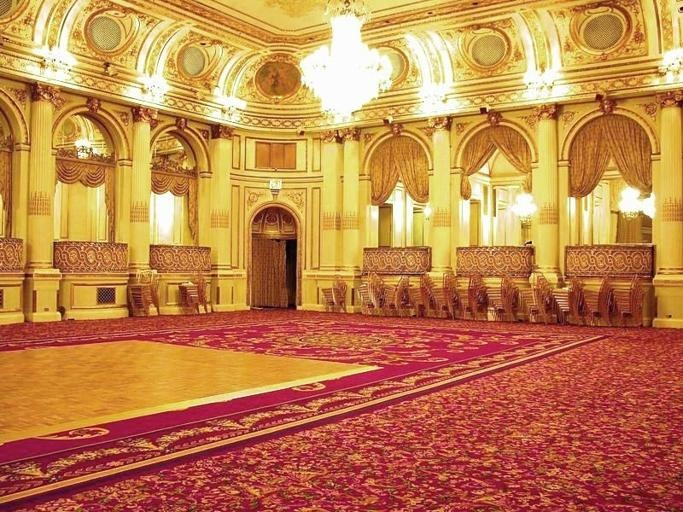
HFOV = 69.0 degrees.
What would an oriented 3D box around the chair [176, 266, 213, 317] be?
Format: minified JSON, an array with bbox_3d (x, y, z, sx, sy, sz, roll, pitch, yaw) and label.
[{"bbox_3d":[-4.509,1.134,15.479,1.029,1.302,0.760,2,-3,-33],"label":"chair"}]

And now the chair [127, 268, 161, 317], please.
[{"bbox_3d":[-5.685,1.065,14.361,0.891,1.350,0.708,2,-3,-24],"label":"chair"}]
